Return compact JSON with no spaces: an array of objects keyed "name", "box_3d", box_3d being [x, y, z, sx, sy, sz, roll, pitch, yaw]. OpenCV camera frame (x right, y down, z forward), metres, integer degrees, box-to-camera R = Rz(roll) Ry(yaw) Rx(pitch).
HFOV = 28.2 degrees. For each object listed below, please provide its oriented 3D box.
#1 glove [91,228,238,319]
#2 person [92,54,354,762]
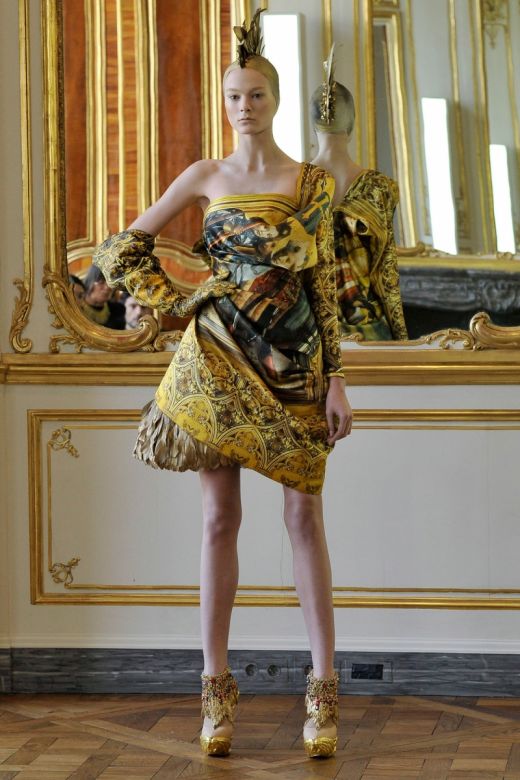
[{"name":"glove","box_3d":[-0.224,-0.237,2.290,0.264,0.093,0.205,34,48,15]},{"name":"person","box_3d":[-0.076,0.024,2.269,0.536,1.532,0.230,-1,-1,-6]}]
